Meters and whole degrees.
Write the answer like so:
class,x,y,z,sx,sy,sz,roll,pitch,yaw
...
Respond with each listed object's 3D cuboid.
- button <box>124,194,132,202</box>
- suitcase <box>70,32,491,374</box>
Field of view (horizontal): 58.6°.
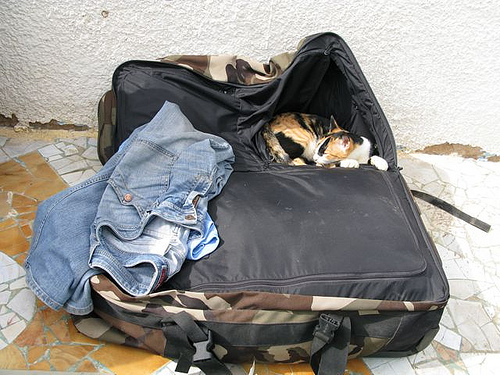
class,x,y,z,sx,sy,sz,roll,pitch,yaw
button,-0.481,0.041,1.750,0.030,0.016,0.028,4,35,-16
suitcase,0.139,0.116,2.070,1.478,0.527,1.450,-2,56,-5
